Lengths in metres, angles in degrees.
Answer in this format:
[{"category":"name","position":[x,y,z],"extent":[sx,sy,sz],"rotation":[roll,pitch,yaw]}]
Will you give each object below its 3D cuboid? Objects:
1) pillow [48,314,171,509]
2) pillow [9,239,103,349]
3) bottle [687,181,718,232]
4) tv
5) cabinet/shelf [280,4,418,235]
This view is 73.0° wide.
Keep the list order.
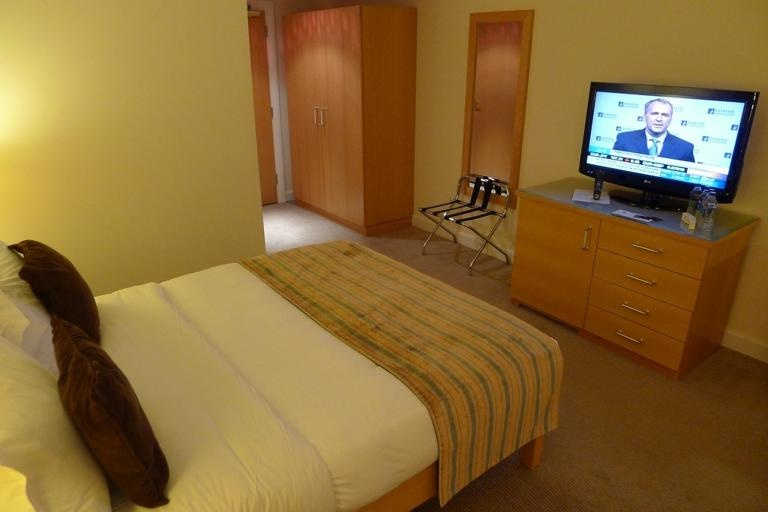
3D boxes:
[{"category":"pillow","position":[-1.187,0.692,2.237],"extent":[0.253,0.442,0.575],"rotation":[-16,36,-34]},{"category":"pillow","position":[-1.644,0.145,2.781],"extent":[0.181,0.622,0.507],"rotation":[-27,12,-3]},{"category":"bottle","position":[2.213,-0.330,3.603],"extent":[0.184,0.231,0.346],"rotation":[16,28,29]},{"category":"tv","position":[2.144,-0.797,3.809],"extent":[0.235,0.661,0.887],"rotation":[-26,36,-30]},{"category":"cabinet/shelf","position":[-0.325,-1.580,5.983],"extent":[1.437,2.326,0.802],"rotation":[23,32,39]}]
